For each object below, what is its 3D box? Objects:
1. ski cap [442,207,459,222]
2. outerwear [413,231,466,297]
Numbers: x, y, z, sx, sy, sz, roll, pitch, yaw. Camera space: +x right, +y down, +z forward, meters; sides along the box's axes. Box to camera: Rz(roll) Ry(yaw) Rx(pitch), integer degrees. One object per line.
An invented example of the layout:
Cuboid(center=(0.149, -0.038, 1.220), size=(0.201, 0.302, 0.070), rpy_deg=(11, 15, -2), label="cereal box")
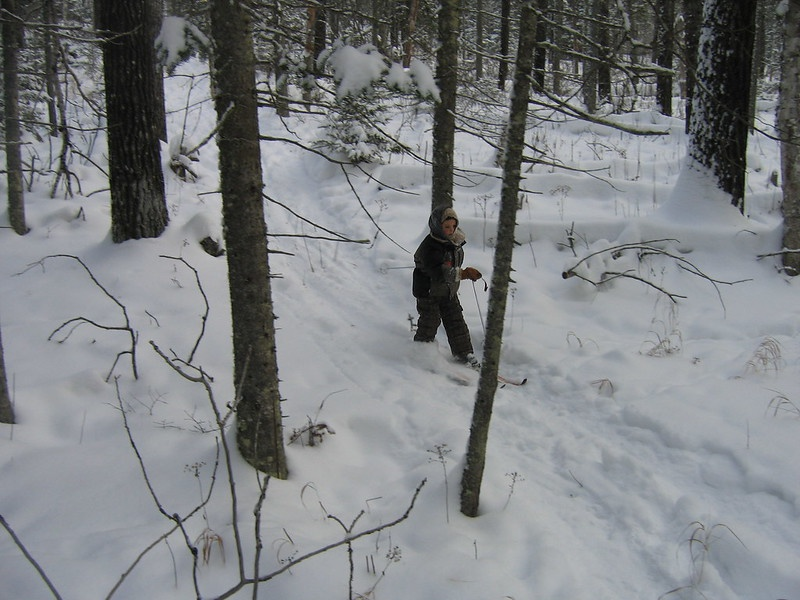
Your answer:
Cuboid(center=(0.695, -1.175, 10.195), size=(0.152, 0.194, 0.406), rpy_deg=(10, 16, 18), label="ski cap")
Cuboid(center=(0.523, -0.557, 10.556), size=(0.670, 1.073, 1.157), rpy_deg=(3, 19, 7), label="outerwear")
